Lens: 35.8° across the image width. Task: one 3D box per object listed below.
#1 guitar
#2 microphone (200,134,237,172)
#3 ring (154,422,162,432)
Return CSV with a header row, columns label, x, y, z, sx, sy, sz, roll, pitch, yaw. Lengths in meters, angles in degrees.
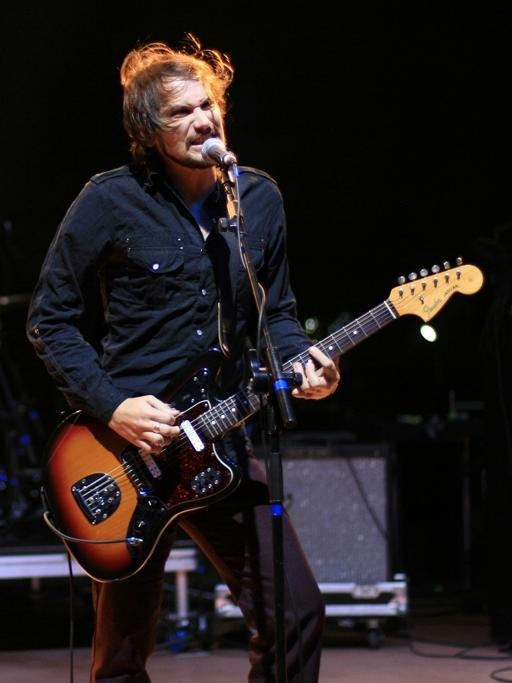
label,x,y,z,sx,sy,sz,roll,pitch,yaw
guitar,-0.027,0.196,1.990,0.968,0.784,0.271,1,-8,-13
microphone,-0.091,-0.428,1.804,0.049,0.041,0.148,2,14,-20
ring,-0.226,0.197,1.818,0.025,0.028,0.011,1,-5,3
